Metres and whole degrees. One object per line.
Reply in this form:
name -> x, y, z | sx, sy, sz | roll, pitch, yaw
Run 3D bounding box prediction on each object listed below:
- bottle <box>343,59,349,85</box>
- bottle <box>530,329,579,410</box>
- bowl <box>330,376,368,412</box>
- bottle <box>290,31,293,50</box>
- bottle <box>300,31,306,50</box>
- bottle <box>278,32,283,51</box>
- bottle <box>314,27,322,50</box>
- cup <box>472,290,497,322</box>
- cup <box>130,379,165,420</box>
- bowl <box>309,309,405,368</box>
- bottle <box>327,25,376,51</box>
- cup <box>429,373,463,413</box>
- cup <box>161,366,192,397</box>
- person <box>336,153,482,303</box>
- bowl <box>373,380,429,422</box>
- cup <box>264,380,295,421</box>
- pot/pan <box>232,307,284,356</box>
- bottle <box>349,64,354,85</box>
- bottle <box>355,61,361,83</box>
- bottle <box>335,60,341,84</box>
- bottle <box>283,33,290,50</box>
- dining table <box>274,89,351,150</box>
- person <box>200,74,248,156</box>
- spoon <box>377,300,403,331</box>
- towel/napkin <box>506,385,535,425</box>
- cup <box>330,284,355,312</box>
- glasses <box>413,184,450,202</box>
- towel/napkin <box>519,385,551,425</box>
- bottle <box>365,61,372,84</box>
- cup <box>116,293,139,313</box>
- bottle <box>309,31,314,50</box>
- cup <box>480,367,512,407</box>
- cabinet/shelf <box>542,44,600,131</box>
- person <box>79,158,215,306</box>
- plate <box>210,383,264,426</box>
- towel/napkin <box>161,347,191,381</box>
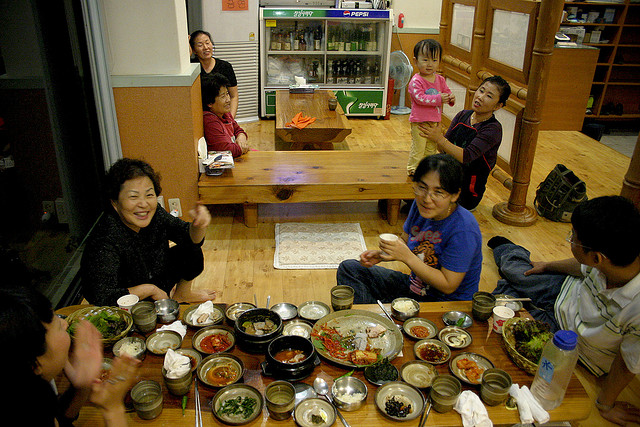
bottle -> 0.486, -2.560, 8.182 | 0.104, 0.370, 0.146 | 0, 29, 2
bottle -> 1.225, 0.768, 2.330 | 0.159, 0.404, 0.310 | 20, 35, 33
bowl -> 0.149, 0.920, 2.322 | 0.152, 0.085, 0.146 | 3, 46, -3
bottle -> -0.484, -3.026, 7.918 | 0.086, 0.274, 0.133 | -4, 29, -5
bottle -> -0.292, -3.041, 7.983 | 0.114, 0.268, 0.195 | -2, 29, -2
bottle -> -0.693, -3.014, 7.899 | 0.089, 0.257, 0.174 | -3, 29, -4
bottle -> -0.027, -3.101, 7.998 | 0.137, 0.360, 0.135 | -1, 29, 0
cup -> 0.987, 0.565, 2.725 | 0.097, 0.108, 0.103 | 0, 42, 0
cup -> -0.862, 0.923, 2.293 | 0.148, 0.133, 0.170 | 0, 31, -8
bowl -> 0.205, 0.704, 2.581 | 0.329, 0.056, 0.324 | 2, 33, -1
bottle -> 0.587, -3.140, 8.074 | 0.875, 0.407, 0.303 | 2, 29, 4
cup -> 0.633, 0.912, 2.305 | 0.150, 0.134, 0.177 | 6, 41, 6
cup -> -0.705, 0.864, 2.310 | 0.140, 0.131, 0.140 | 0, 28, 0
person -> 0.650, 0.177, 3.095 | 0.894, 1.144, 0.574 | 10, 31, 19
bowl -> 0.403, 0.955, 2.299 | 0.234, 0.076, 0.189 | 16, 33, 27
cup -> -0.199, 0.935, 2.280 | 0.155, 0.111, 0.165 | -1, 29, 0
pot/pan -> -0.352, 0.649, 2.508 | 0.240, 0.097, 0.248 | 3, 34, 0
bottle -> 0.578, -2.537, 8.196 | 0.100, 0.317, 0.143 | 1, 29, 4
bottle -> 0.698, -2.572, 8.212 | 0.118, 0.351, 0.148 | 1, 29, 3
bottle -> 0.316, -2.566, 8.191 | 0.176, 0.362, 0.217 | -1, 29, -1
bottle -> -0.560, -3.004, 7.913 | 0.142, 0.250, 0.171 | -3, 29, -4
dining table -> -0.141, -1.413, 6.561 | 0.961, 0.445, 1.600 | -3, 29, -4
person -> -1.087, -1.119, 5.182 | 0.484, 0.909, 0.685 | 0, 29, 1
spoon -> 0.426, 0.611, 2.748 | 0.056, 0.039, 0.280 | -16, 37, -7
towel/napkin -> 1.006, 0.969, 2.288 | 0.102, 0.050, 0.171 | -17, 62, -7
cup -> 0.120, 0.541, 2.814 | 0.144, 0.150, 0.140 | 1, 41, -1
glasses -> 0.713, -0.123, 2.892 | 0.232, 0.117, 0.075 | 9, 31, 17
towel/napkin -> 1.080, 0.974, 2.301 | 0.109, 0.057, 0.185 | -34, 45, 5
bottle -> 0.883, -2.547, 8.231 | 0.120, 0.309, 0.197 | 2, 29, 6
cup -> -1.164, 0.542, 2.744 | 0.106, 0.076, 0.104 | 4, 40, -3
bottle -> -0.147, -3.032, 7.991 | 0.095, 0.260, 0.093 | -1, 29, 0
cup -> 0.904, 0.894, 2.380 | 0.159, 0.144, 0.177 | 3, 36, 8
cabinet/shelf -> 3.931, -1.992, 7.225 | 0.766, 1.373, 0.246 | -7, 30, -10
person -> -1.333, 0.153, 3.427 | 0.757, 0.962, 0.776 | 18, 41, 9
plate -> -0.410, 0.955, 2.267 | 0.248, 0.091, 0.184 | 8, 30, 15
towel/napkin -> -0.735, 0.774, 2.331 | 0.116, 0.042, 0.117 | 27, 30, 23
